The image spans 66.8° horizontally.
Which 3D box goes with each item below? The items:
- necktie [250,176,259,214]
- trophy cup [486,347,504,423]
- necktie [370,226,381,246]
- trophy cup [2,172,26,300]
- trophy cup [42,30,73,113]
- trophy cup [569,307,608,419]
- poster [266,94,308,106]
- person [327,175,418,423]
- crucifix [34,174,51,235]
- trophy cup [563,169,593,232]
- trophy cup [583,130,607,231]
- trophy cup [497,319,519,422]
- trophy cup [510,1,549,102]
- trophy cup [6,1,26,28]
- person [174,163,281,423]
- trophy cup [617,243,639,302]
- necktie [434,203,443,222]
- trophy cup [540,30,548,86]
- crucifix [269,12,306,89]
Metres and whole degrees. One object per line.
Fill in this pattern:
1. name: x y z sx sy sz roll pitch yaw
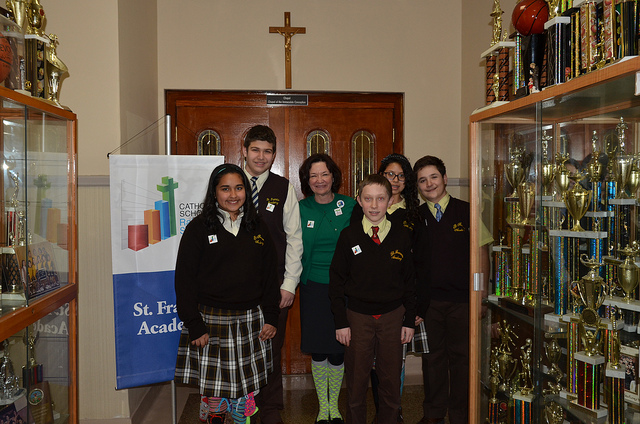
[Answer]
1. necktie: -0.433 -0.124 3.301 0.052 0.234 0.062 -3 3 -7
2. trophy cup: 1.066 1.079 2.968 0.046 0.357 0.142 2 4 -3
3. necktie: 0.360 0.150 3.086 0.055 0.114 0.034 -2 3 5
4. trophy cup: -1.563 0.165 2.556 0.063 0.510 0.171 1 6 -20
5. trophy cup: -1.535 -0.819 2.842 0.150 0.428 0.201 0 3 -6
6. trophy cup: 1.390 0.772 2.511 0.163 0.552 0.060 -1 3 32
7. poster: -0.305 -0.991 4.396 0.309 0.102 0.014 -1 2 0
8. person: 0.343 0.559 3.116 0.553 1.572 0.188 -2 3 4
9. crucifix: -1.544 -0.044 2.705 0.028 0.212 0.118 -2 3 7
10. trophy cup: 1.368 -0.060 2.570 0.117 0.320 0.147 -6 5 -39
11. trophy cup: 1.433 -0.163 2.514 0.100 0.514 0.083 -1 4 36
12. trophy cup: 1.116 0.954 2.891 0.046 0.614 0.132 -4 3 -32
13. trophy cup: 1.184 -0.916 2.731 0.110 0.477 0.251 2 8 5
14. trophy cup: -1.663 -1.080 2.658 0.088 0.095 0.030 -3 3 -6
15. person: -0.573 0.409 2.965 0.664 1.396 0.263 -4 3 -19
16. trophy cup: 1.529 0.303 2.401 0.089 0.280 0.042 -1 4 33
17. necktie: 0.808 0.001 3.290 0.052 0.110 0.019 -2 3 4
18. trophy cup: 1.234 -0.826 2.665 0.043 0.278 0.041 -3 3 0
19. crucifix: -0.267 -1.390 4.193 0.313 0.645 0.077 -3 3 -3
